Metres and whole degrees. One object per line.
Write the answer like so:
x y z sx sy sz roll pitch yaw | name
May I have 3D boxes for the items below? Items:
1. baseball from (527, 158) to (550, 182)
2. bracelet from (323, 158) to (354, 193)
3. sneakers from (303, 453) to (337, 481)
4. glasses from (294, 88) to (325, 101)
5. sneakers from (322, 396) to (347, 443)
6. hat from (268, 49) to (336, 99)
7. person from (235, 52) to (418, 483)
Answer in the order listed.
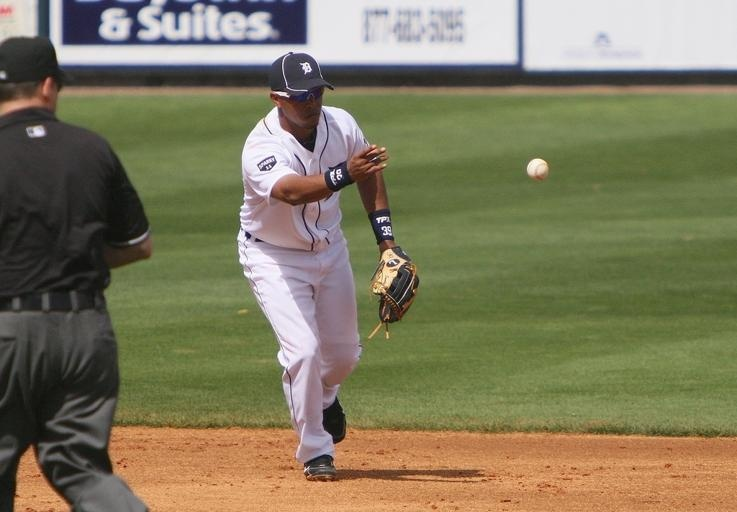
1.775 -0.924 17.768 0.224 0.237 0.273 17 18 11 | baseball
-0.230 -0.619 13.153 0.252 0.204 0.234 -20 -17 -5 | bracelet
-0.384 1.715 13.514 0.145 0.145 0.311 0 -1 -11 | sneakers
-0.473 -1.298 13.337 0.231 0.112 0.070 -3 9 -18 | glasses
-0.273 1.353 13.933 0.158 0.396 0.176 -6 27 2 | sneakers
-0.547 -1.444 13.378 0.337 0.243 0.497 -19 20 -35 | hat
-0.483 0.083 13.513 1.076 3.424 0.819 -2 9 -5 | person
